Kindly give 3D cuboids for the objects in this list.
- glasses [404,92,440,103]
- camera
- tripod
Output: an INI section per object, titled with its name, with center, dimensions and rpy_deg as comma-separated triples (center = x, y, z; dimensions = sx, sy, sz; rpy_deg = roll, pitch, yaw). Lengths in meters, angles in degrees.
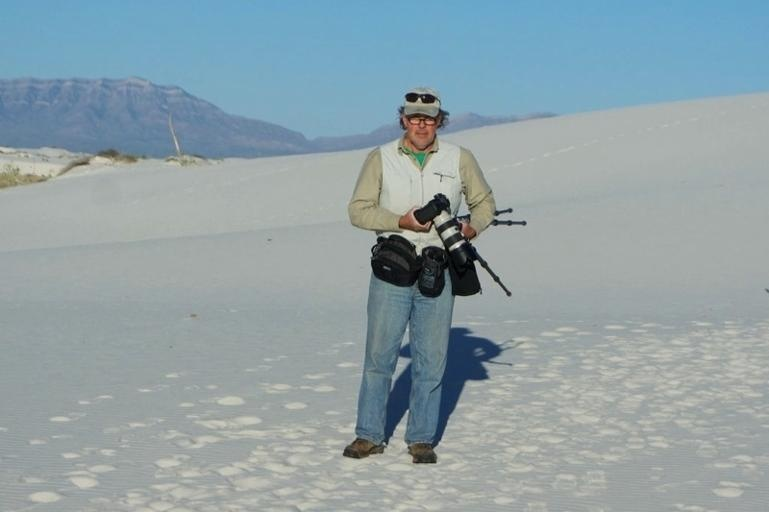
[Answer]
[glasses]
center = 0.364, -1.504, 10.687
dimensions = 0.301, 0.107, 0.121
rpy_deg = -1, 9, -2
[camera]
center = 0.635, -0.212, 10.703
dimensions = 0.495, 0.755, 0.256
rpy_deg = -36, 7, 17
[tripod]
center = 1.530, 0.005, 15.590
dimensions = 0.758, 1.315, 1.770
rpy_deg = 4, -13, -4
